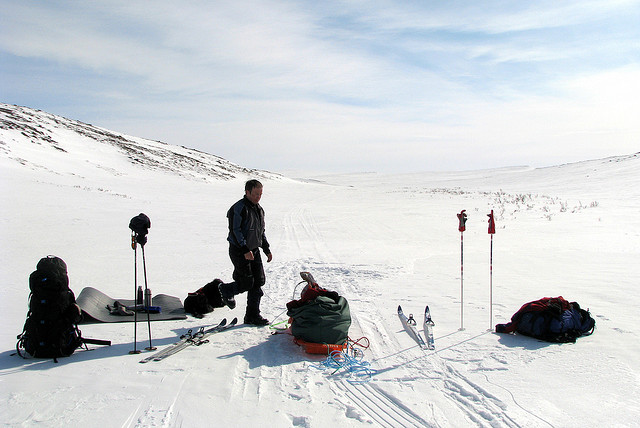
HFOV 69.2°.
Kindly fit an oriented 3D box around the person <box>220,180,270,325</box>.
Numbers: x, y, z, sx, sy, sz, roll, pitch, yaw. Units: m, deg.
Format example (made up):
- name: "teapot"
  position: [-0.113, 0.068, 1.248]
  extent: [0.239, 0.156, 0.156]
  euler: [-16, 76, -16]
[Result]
- name: "person"
  position: [-1.434, 0.758, 9.133]
  extent: [0.921, 2.836, 0.775]
  euler: [0, 12, -6]
